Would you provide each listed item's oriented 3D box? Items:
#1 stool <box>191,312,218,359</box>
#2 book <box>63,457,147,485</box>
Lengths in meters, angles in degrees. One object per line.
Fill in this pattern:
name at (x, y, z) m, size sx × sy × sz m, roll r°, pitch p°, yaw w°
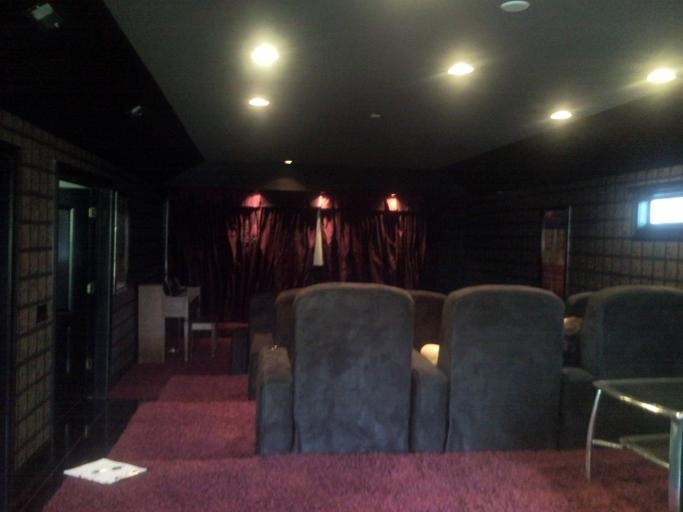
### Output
stool at (-1.480, 0.932, 5.772) m, size 0.300 × 0.443 × 0.579 m, roll 0°, pitch -4°, yaw -4°
book at (-1.013, 0.936, 2.253) m, size 0.308 × 0.049 × 0.204 m, roll -2°, pitch -3°, yaw 29°
